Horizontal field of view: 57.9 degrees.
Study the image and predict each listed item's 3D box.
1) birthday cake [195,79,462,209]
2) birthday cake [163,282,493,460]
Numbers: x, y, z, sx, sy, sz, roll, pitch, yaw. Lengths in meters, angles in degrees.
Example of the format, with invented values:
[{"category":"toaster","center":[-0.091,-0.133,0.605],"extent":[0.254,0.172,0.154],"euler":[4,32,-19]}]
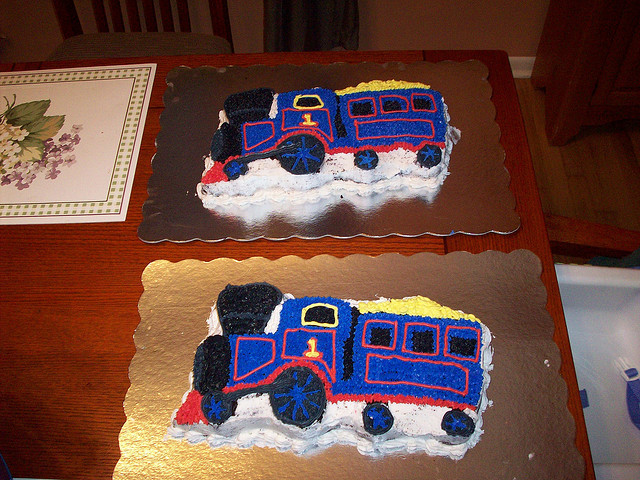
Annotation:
[{"category":"birthday cake","center":[0.020,-0.342,1.976],"extent":[0.733,0.221,0.452],"euler":[-2,55,-1]},{"category":"birthday cake","center":[0.027,0.341,1.617],"extent":[0.758,0.218,0.480],"euler":[3,61,1]}]
